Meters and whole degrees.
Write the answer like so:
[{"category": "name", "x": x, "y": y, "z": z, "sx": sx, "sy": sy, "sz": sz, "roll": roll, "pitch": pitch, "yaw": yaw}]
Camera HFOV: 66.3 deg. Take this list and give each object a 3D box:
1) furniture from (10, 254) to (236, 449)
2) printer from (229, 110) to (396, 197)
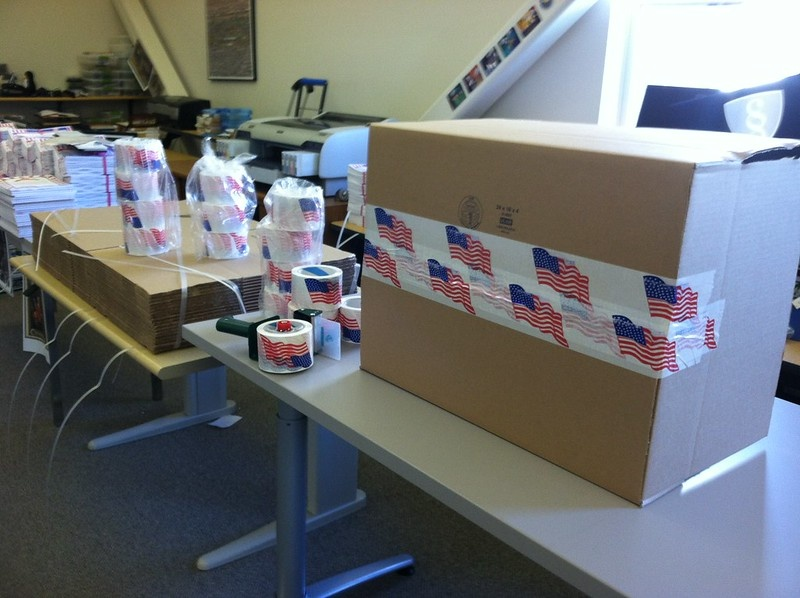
[{"category": "furniture", "x": -0.969, "y": 0.221, "z": 2.139, "sx": 0.389, "sy": 0.198, "sz": 0.764, "roll": -14, "pitch": 28, "yaw": -41}, {"category": "printer", "x": -0.452, "y": -0.838, "z": 3.389, "sx": 0.879, "sy": 0.387, "sz": 0.799, "roll": 21, "pitch": 29, "yaw": 37}]
